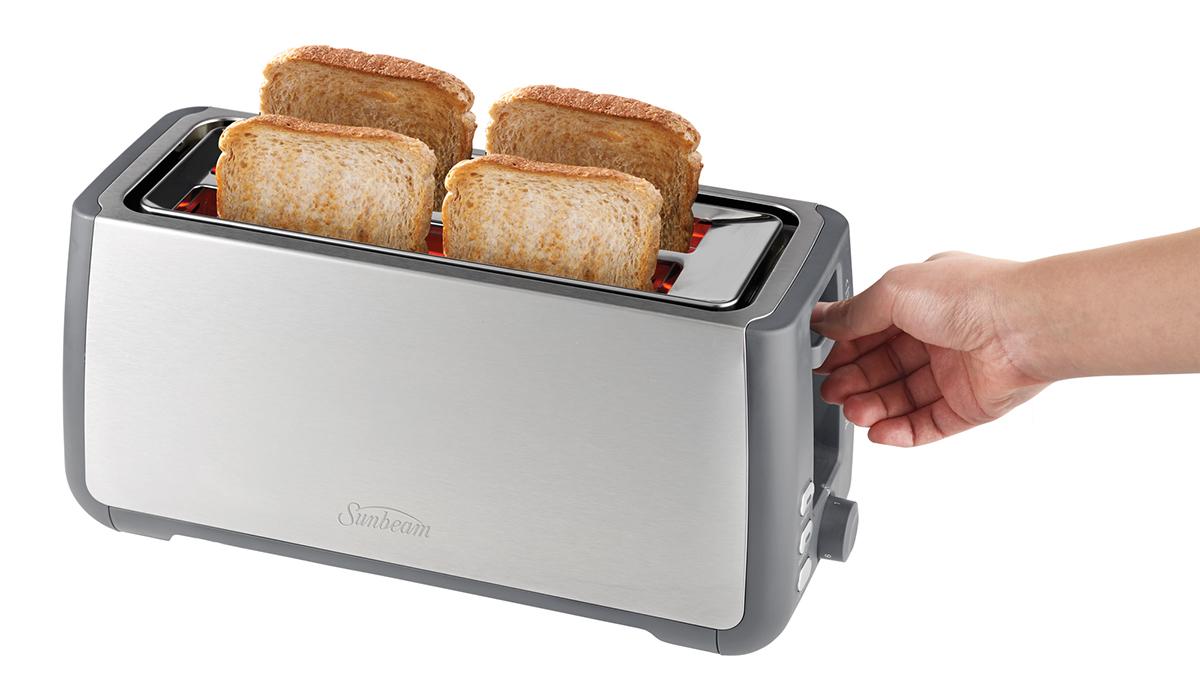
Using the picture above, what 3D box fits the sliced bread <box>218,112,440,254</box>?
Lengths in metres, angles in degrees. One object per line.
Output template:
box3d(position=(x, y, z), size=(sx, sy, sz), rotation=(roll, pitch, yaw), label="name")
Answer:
box3d(position=(-0.410, -0.225, 1.581), size=(0.431, 0.053, 0.154), rotation=(10, 99, 5), label="sliced bread")

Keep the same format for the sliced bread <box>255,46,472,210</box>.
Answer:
box3d(position=(-0.364, -0.339, 1.715), size=(0.378, 0.229, 0.060), rotation=(16, 38, 11), label="sliced bread")
